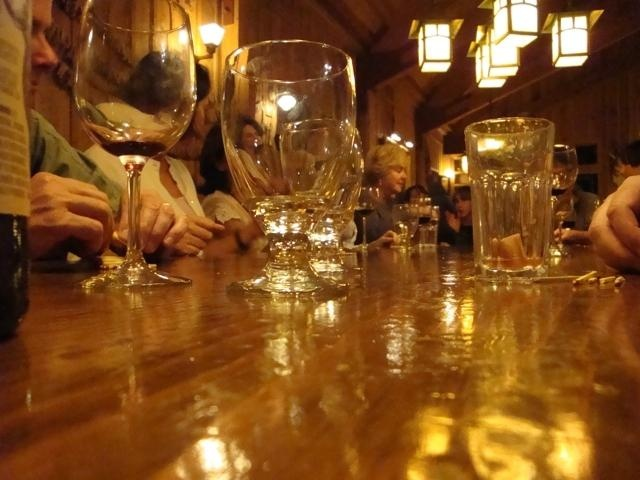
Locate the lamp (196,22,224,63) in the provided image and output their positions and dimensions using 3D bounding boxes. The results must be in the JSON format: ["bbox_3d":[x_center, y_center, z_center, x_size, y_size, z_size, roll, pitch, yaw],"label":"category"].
[{"bbox_3d":[-0.601,-1.067,2.893,0.169,0.197,0.123,0,4,26],"label":"lamp"}]
